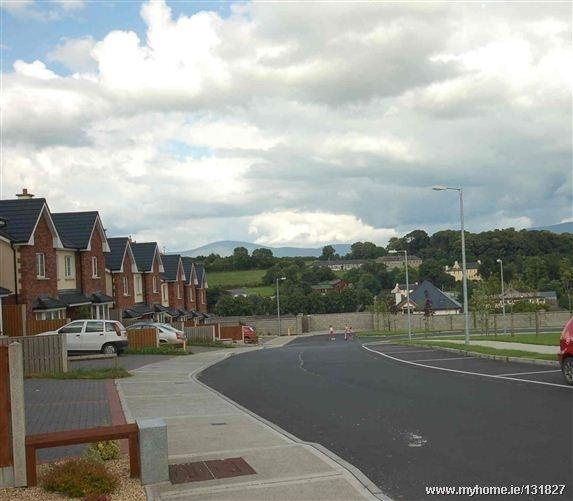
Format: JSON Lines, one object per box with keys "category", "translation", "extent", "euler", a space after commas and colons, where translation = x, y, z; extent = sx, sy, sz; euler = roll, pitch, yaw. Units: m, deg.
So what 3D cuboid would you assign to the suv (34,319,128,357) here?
{"category": "suv", "translation": [-9.047, 3.817, 28.034], "extent": [4.088, 1.680, 2.031], "euler": [0, 0, 1]}
